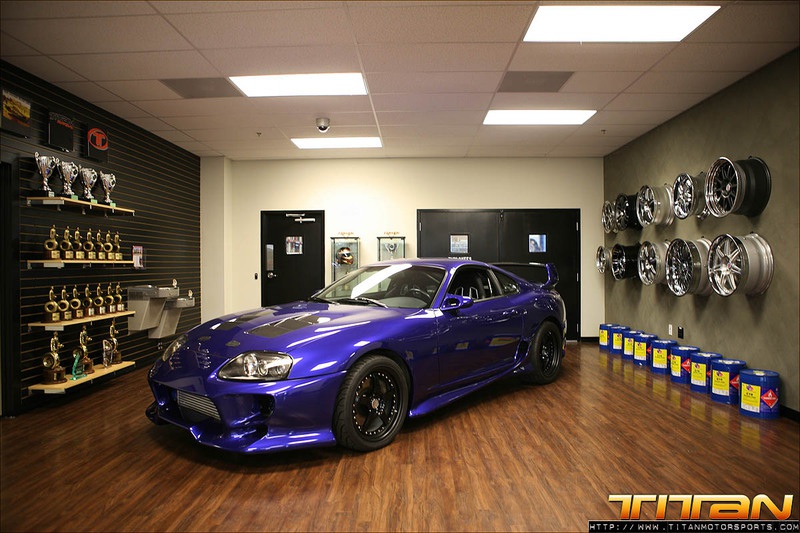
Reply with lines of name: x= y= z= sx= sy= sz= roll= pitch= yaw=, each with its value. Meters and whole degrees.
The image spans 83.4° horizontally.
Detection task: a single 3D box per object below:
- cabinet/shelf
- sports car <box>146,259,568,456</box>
cabinet/shelf: x=-3.820 y=0.281 z=5.367 sx=0.494 sy=2.044 sz=0.912 roll=4 pitch=4 yaw=5
sports car: x=-0.068 y=0.738 z=5.610 sx=5.084 sy=1.697 sz=2.566 roll=0 pitch=-2 yaw=-44
